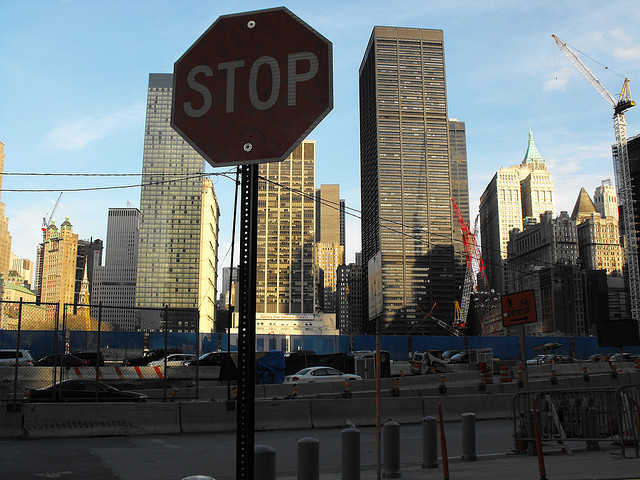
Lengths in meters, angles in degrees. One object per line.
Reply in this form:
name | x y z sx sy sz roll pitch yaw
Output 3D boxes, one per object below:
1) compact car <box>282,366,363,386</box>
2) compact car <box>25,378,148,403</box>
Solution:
compact car | 0.111 6.702 44.375 3.742 0.938 2.825 -1 -12 -2
compact car | -9.245 5.970 34.745 3.850 1.177 1.805 2 -10 -12
